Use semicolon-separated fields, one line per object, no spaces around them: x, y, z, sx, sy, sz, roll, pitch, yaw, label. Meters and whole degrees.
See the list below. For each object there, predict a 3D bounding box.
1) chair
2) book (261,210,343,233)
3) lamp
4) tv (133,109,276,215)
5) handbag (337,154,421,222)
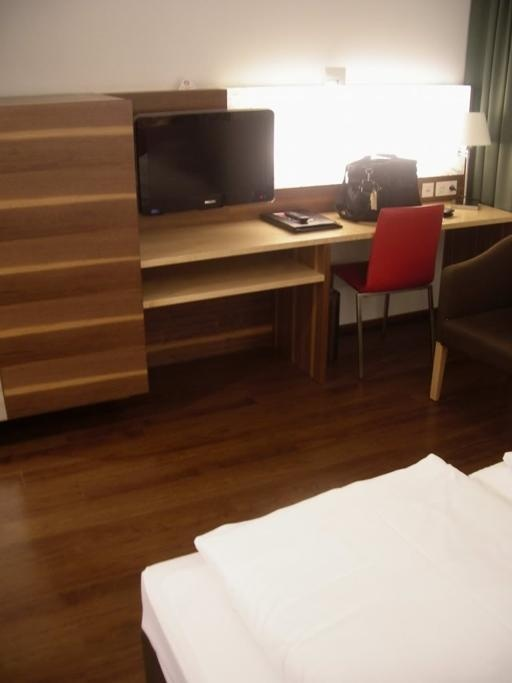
0.849;-0.209;2.724;0.503;1.173;0.675;-7;36;-9;chair
0.228;-0.618;2.691;0.291;0.117;0.399;-9;14;-28;book
1.297;-1.086;3.078;0.155;0.535;0.408;2;11;23;lamp
-0.266;-0.863;2.464;0.497;0.405;0.075;-14;33;-20;tv
0.658;-0.807;2.728;0.335;0.323;0.338;-6;27;-8;handbag
